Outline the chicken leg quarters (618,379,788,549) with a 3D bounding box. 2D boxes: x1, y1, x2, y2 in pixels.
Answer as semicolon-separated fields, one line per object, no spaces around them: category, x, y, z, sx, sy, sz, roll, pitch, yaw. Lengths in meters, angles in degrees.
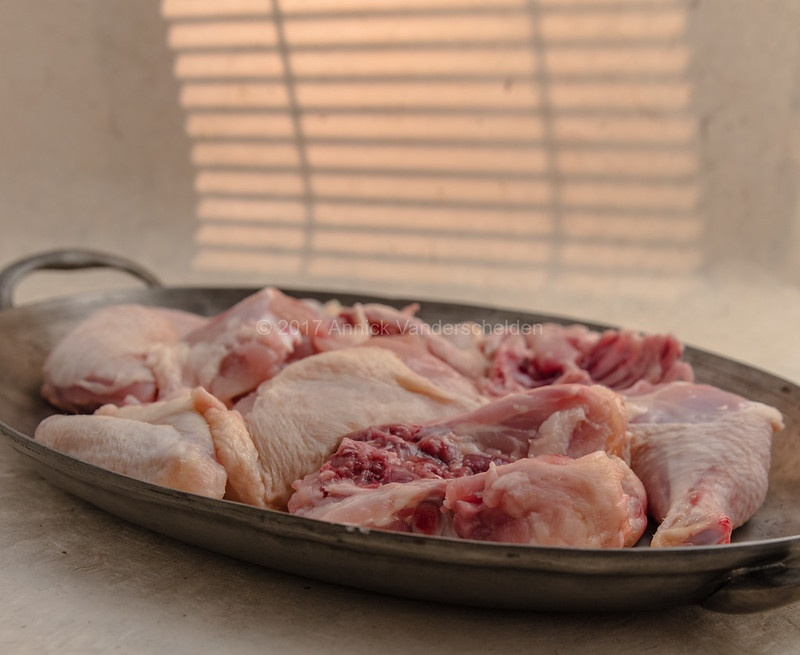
chicken leg quarters;0.736;0.339;2.452;0.454;0.130;0.420;3;37;18
